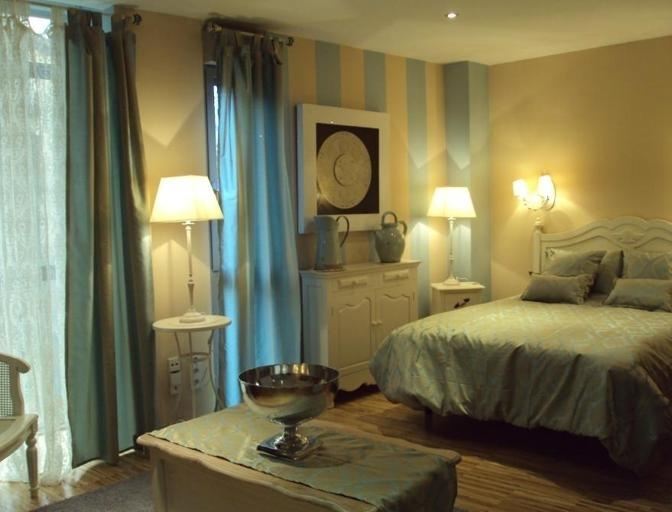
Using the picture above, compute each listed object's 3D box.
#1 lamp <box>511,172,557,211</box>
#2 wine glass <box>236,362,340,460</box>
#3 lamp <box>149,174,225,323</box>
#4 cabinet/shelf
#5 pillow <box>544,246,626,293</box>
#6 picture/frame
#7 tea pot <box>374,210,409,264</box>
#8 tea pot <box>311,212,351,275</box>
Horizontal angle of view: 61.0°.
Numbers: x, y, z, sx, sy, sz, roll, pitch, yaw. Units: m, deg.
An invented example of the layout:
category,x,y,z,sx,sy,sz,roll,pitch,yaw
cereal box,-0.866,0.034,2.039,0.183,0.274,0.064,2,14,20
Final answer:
category,x,y,z,sx,sy,sz,roll,pitch,yaw
lamp,2.041,-0.662,5.834,0.310,0.318,0.163,-25,-13,40
wine glass,-0.199,0.658,2.573,0.376,0.314,0.371,-1,-3,27
lamp,-1.052,-0.055,4.091,0.494,1.022,0.461,-1,8,5
cabinet/shelf,0.175,0.584,4.656,0.334,0.959,1.034,0,3,43
pillow,2.324,0.200,5.201,0.433,0.470,0.140,2,-11,27
picture/frame,0.024,-0.776,5.181,0.080,1.238,1.183,1,1,40
tea pot,0.509,-0.180,5.407,0.310,0.566,0.491,0,1,40
tea pot,-0.045,-0.125,5.049,0.299,0.473,0.469,-1,8,4
